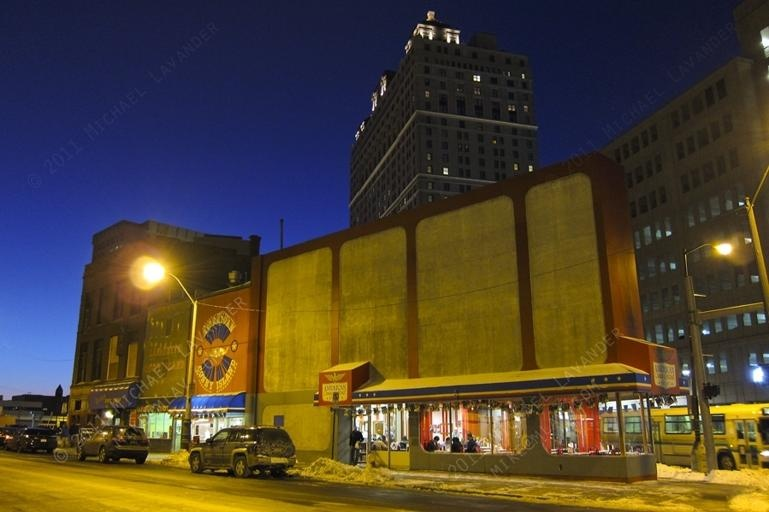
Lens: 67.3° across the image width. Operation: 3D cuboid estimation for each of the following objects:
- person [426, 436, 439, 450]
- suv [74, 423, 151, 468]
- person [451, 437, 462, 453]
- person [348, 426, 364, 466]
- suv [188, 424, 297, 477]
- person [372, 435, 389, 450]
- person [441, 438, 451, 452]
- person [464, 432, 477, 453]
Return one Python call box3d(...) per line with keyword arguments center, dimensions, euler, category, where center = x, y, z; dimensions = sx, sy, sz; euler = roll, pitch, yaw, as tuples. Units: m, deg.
box3d(center=(2.944, 11.544, 35.309), dimensions=(0.658, 1.242, 0.885), euler=(3, -6, -8), category="person")
box3d(center=(-17.481, 12.171, 37.292), dimensions=(4.355, 2.372, 1.642), euler=(-11, -21, 23), category="suv")
box3d(center=(4.280, 11.186, 34.383), dimensions=(0.682, 0.909, 0.338), euler=(-3, -18, 4), category="person")
box3d(center=(-1.847, 12.371, 37.437), dimensions=(0.680, 2.059, 1.074), euler=(0, -19, -4), category="person")
box3d(center=(-7.953, 10.677, 31.589), dimensions=(6.285, 2.531, 1.972), euler=(-13, -22, 27), category="suv")
box3d(center=(-0.325, 12.179, 37.857), dimensions=(0.954, 1.037, 2.459), euler=(-1, -20, -2), category="person")
box3d(center=(3.705, 11.440, 35.143), dimensions=(0.346, 0.835, 0.941), euler=(6, -20, -20), category="person")
box3d(center=(4.989, 10.996, 34.057), dimensions=(0.804, 1.175, 1.131), euler=(-3, -11, 35), category="person")
